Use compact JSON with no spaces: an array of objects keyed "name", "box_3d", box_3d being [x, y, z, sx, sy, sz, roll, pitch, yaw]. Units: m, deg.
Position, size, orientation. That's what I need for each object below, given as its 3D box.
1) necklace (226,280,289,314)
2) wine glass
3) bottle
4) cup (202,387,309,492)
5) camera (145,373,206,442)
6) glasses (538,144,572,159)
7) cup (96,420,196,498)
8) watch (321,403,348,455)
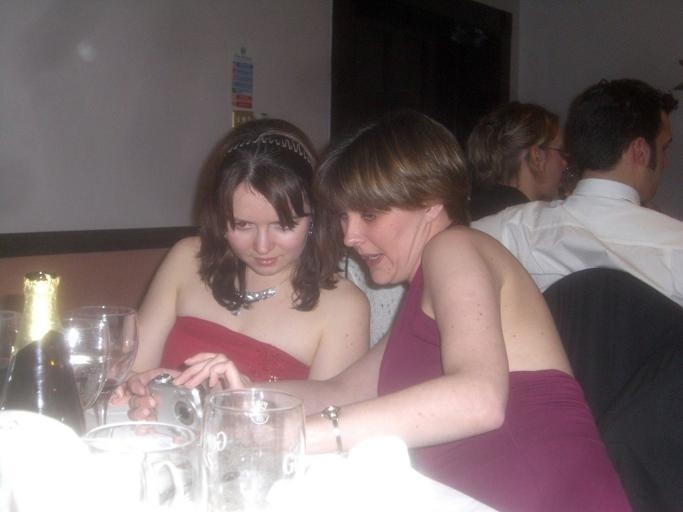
[{"name":"necklace","box_3d":[-0.312,0.153,2.095,0.138,0.091,0.047,-22,-42,4]},{"name":"wine glass","box_3d":[-0.530,0.221,1.237,0.182,0.305,0.212,0,-8,-4]},{"name":"bottle","box_3d":[-0.552,0.186,1.116,0.149,0.298,0.229,3,-11,-23]},{"name":"cup","box_3d":[-0.144,0.311,1.032,0.148,0.168,0.155,0,-7,0]},{"name":"camera","box_3d":[-0.366,0.345,1.267,0.135,0.143,0.084,29,-64,-34]},{"name":"glasses","box_3d":[1.131,-0.558,3.162,0.105,0.034,0.107,3,20,-36]},{"name":"cup","box_3d":[-0.322,0.298,0.944,0.150,0.113,0.099,-2,1,38]},{"name":"watch","box_3d":[-0.011,0.363,1.240,0.042,0.092,0.064,4,-11,-27]}]
